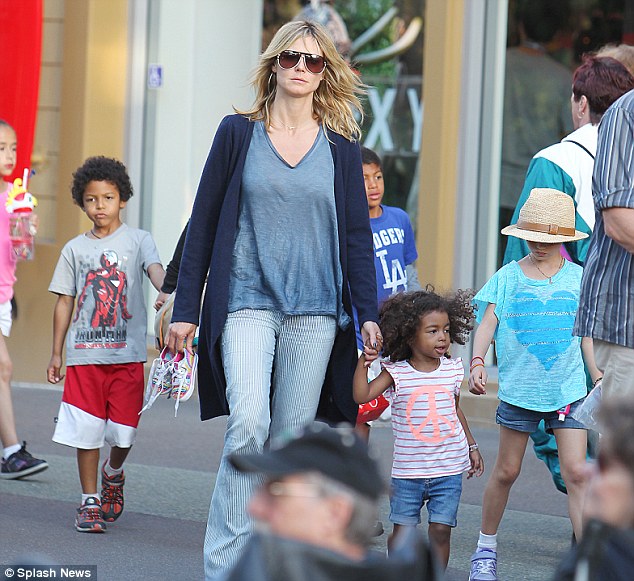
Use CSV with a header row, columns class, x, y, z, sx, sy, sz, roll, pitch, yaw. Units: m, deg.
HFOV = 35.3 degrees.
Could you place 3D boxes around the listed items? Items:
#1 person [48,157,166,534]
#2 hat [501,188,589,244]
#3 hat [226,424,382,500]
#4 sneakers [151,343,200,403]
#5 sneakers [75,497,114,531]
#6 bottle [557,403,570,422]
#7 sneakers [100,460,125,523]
class,x,y,z,sx,sy,sz,roll,pitch,yaw
person,-1.159,0.233,5.455,0.616,1.975,0.810,1,3,-16
hat,1.159,-0.373,4.941,0.467,0.257,0.496,9,4,21
hat,0.002,0.355,2.128,0.234,0.098,0.162,10,-6,8
sneakers,-0.598,0.364,4.356,0.157,0.246,0.088,0,-12,26
sneakers,-1.174,1.149,5.135,0.153,0.175,0.194,1,3,-16
bottle,1.148,0.568,4.613,0.049,0.077,0.021,0,-5,30
sneakers,-1.114,1.095,5.366,0.106,0.368,0.151,-2,2,-16
